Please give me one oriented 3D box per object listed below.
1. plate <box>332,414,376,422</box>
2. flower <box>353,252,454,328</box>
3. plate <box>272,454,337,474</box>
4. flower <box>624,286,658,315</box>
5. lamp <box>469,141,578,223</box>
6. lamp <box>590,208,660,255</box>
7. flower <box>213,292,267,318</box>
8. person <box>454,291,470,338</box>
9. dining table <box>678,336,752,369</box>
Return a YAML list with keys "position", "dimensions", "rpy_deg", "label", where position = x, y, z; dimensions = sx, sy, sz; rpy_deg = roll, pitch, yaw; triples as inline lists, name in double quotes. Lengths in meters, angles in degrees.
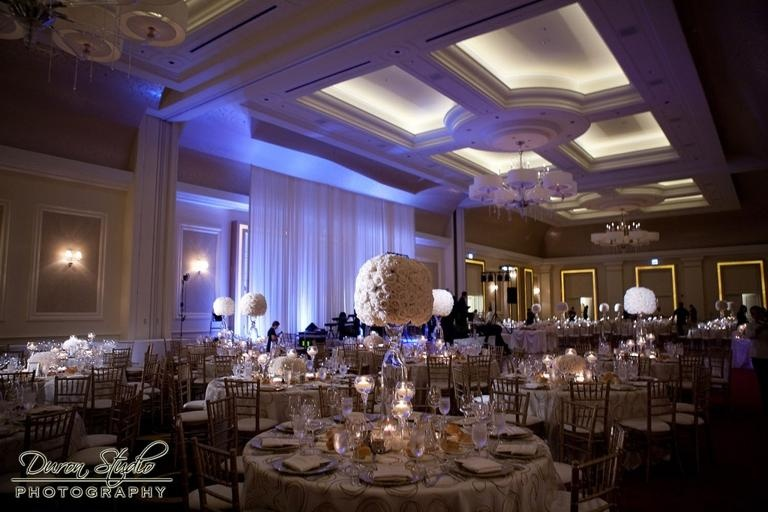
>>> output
- position: [-0.316, 1.702, 5.078]
  dimensions: [0.258, 0.040, 0.267]
  rpy_deg: [3, -10, -20]
  label: "plate"
- position: [0.118, 0.361, 5.625]
  dimensions: [0.869, 0.935, 0.695]
  rpy_deg: [0, 0, -38]
  label: "flower"
- position: [-0.739, 1.948, 4.518]
  dimensions: [0.239, 0.058, 0.273]
  rpy_deg: [-2, -4, 17]
  label: "plate"
- position: [11.116, 1.937, 21.056]
  dimensions: [1.232, 1.157, 1.224]
  rpy_deg: [-9, 1, -45]
  label: "flower"
- position: [3.434, -1.809, 12.065]
  dimensions: [2.313, 1.560, 2.316]
  rpy_deg: [2, -3, -8]
  label: "lamp"
- position: [9.680, -1.083, 19.697]
  dimensions: [2.347, 1.902, 2.423]
  rpy_deg: [-13, 10, -33]
  label: "lamp"
- position: [-3.721, 1.172, 12.460]
  dimensions: [1.162, 0.725, 1.868]
  rpy_deg: [3, -11, -20]
  label: "flower"
- position: [2.264, 1.693, 14.118]
  dimensions: [0.342, 1.132, 0.369]
  rpy_deg: [-14, -6, -36]
  label: "person"
- position: [8.332, 2.411, 12.110]
  dimensions: [1.629, 0.698, 2.314]
  rpy_deg: [-2, -2, 30]
  label: "dining table"
